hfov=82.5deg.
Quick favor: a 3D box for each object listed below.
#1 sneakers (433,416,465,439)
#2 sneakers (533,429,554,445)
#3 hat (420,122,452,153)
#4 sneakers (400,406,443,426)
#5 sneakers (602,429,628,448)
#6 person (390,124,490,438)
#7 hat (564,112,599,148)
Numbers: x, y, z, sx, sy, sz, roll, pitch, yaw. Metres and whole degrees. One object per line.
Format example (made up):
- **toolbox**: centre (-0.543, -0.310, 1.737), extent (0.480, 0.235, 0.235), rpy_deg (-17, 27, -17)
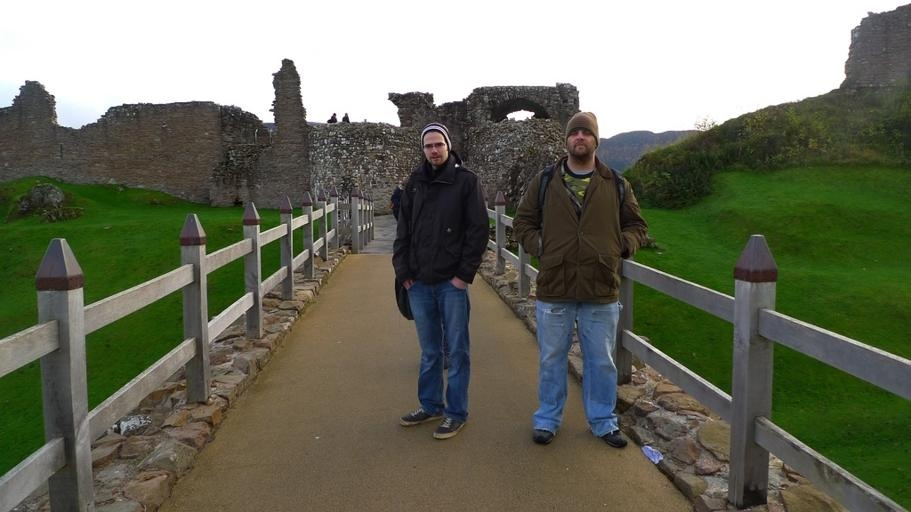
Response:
- **sneakers**: centre (-0.076, 1.916, 5.802), extent (0.420, 0.141, 0.158), rpy_deg (1, -3, -39)
- **sneakers**: centre (0.939, 1.975, 5.677), extent (0.282, 0.109, 0.106), rpy_deg (0, 8, -12)
- **hat**: centre (-0.205, -1.314, 5.718), extent (0.319, 0.295, 0.193), rpy_deg (-1, 10, 0)
- **sneakers**: centre (-0.352, 1.853, 6.012), extent (0.550, 0.198, 0.185), rpy_deg (3, -6, -14)
- **sneakers**: centre (1.718, 1.988, 5.661), extent (0.144, 0.112, 0.273), rpy_deg (-2, 0, -40)
- **person**: centre (-0.166, 0.279, 5.751), extent (1.046, 3.408, 0.694), rpy_deg (-1, 11, 3)
- **hat**: centre (1.360, -1.355, 5.568), extent (0.329, 0.377, 0.299), rpy_deg (1, 11, 9)
